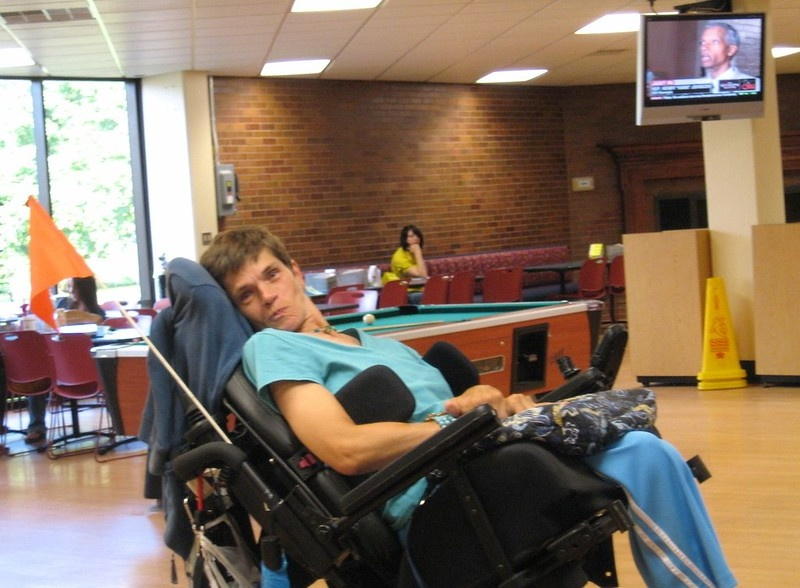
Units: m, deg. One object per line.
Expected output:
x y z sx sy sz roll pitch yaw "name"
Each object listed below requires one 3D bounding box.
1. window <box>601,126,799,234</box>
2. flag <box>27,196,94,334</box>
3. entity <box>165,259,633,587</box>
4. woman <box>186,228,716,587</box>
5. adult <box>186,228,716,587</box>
5.355 -1.968 11.367 3.398 1.628 0.677 -7 6 -7 "window"
-1.046 -0.101 1.951 0.200 0.350 0.371 -15 7 -24 "flag"
-0.122 0.282 2.502 1.576 0.938 0.961 -19 9 -27 "entity"
0.058 0.292 2.018 1.988 0.807 0.938 -3 -1 10 "woman"
0.089 0.266 1.896 1.458 1.059 0.741 -6 7 19 "adult"
